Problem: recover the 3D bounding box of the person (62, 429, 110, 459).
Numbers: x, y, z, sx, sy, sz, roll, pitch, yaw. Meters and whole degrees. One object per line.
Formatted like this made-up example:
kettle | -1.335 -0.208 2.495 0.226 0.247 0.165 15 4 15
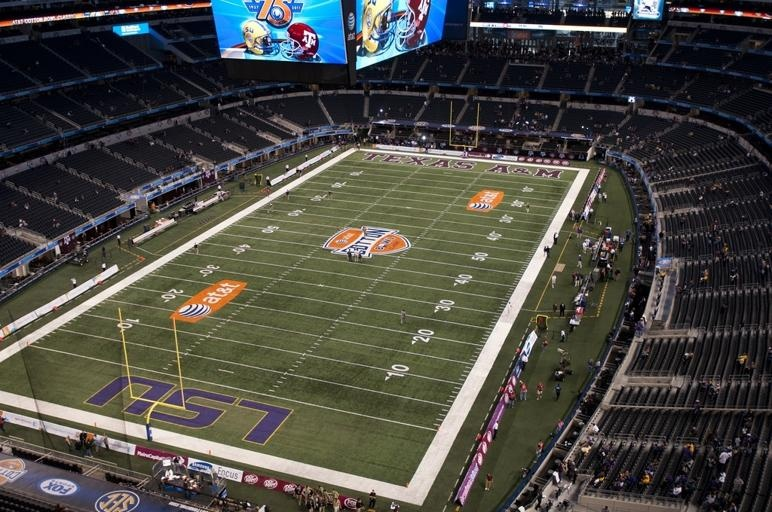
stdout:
person | -13.765 8.658 30.415 2.365 1.033 0.508 11 -24 -11
